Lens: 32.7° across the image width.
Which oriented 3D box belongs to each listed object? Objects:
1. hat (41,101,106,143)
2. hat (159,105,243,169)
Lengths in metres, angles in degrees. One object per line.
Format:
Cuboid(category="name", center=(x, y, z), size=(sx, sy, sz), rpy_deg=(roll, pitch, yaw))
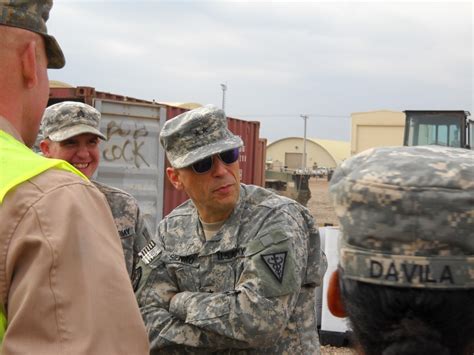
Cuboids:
Cuboid(category="hat", center=(-0.991, -0.327, 4.767), size=(0.275, 0.158, 0.356), rpy_deg=(3, -8, -43))
Cuboid(category="hat", center=(-0.201, -0.217, 3.962), size=(0.377, 0.173, 0.466), rpy_deg=(-17, 14, -20))
